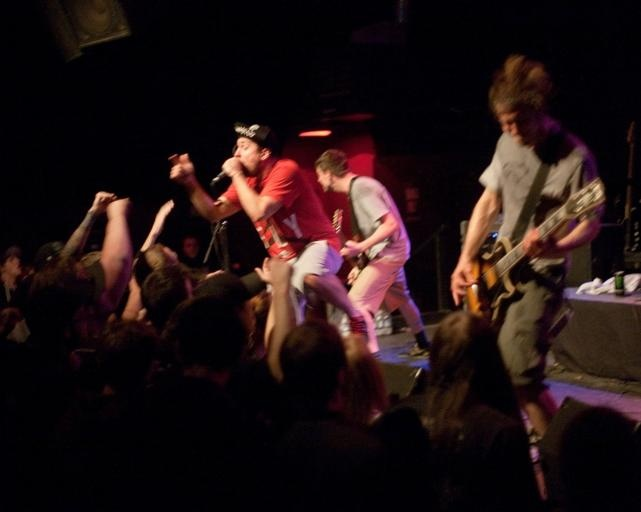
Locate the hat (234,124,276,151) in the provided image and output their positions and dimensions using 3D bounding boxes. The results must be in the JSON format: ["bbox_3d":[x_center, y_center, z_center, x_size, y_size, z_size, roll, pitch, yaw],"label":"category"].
[{"bbox_3d":[-0.421,-0.754,3.148,0.160,0.089,0.232,25,1,33],"label":"hat"}]
